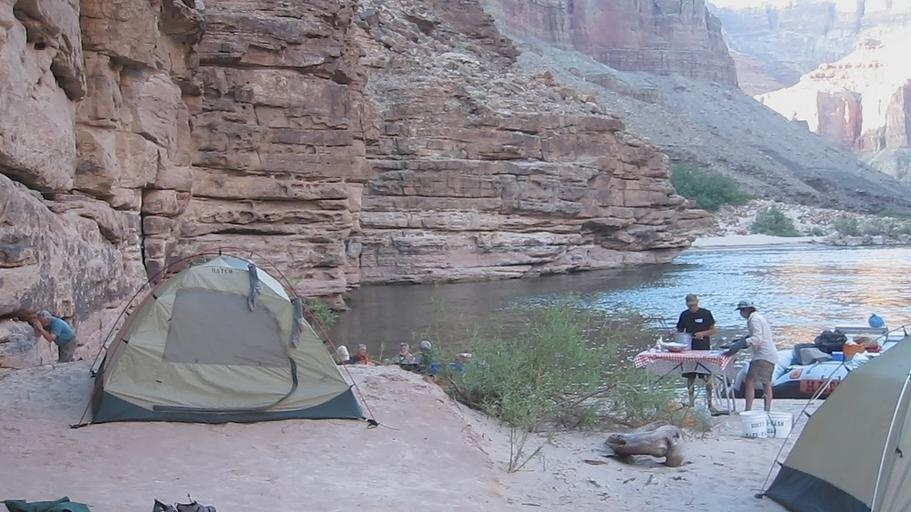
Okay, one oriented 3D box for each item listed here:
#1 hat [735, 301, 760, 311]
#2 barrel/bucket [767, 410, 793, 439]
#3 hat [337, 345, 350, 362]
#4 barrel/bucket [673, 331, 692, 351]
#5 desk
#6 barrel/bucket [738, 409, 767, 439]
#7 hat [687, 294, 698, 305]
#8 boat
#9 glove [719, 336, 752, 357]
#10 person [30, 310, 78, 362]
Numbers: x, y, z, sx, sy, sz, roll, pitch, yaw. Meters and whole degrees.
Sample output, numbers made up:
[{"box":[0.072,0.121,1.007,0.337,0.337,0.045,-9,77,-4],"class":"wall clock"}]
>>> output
[{"box":[8.314,1.409,25.094,0.423,0.268,0.653,2,5,20],"class":"hat"},{"box":[8.913,4.692,24.079,0.786,0.513,0.729,7,-12,1],"class":"barrel/bucket"},{"box":[-3.535,3.029,27.056,0.558,0.441,0.740,-1,-6,2],"class":"hat"},{"box":[6.515,2.453,25.192,0.563,0.461,0.603,0,-1,0],"class":"barrel/bucket"},{"box":[7.001,3.849,25.398,2.688,1.140,2.422,-2,-11,34],"class":"desk"},{"box":[8.054,4.676,24.314,0.850,0.570,0.761,-2,-3,-13],"class":"barrel/bucket"},{"box":[6.878,1.262,25.563,0.277,0.270,0.238,-27,22,18],"class":"hat"},{"box":[10.608,3.660,26.425,4.196,0.985,2.648,-1,-5,0],"class":"boat"},{"box":[7.906,2.542,24.734,0.719,0.175,0.659,-22,-1,12],"class":"glove"},{"box":[-11.543,2.271,24.866,1.137,0.648,1.576,8,-39,-29],"class":"person"}]
